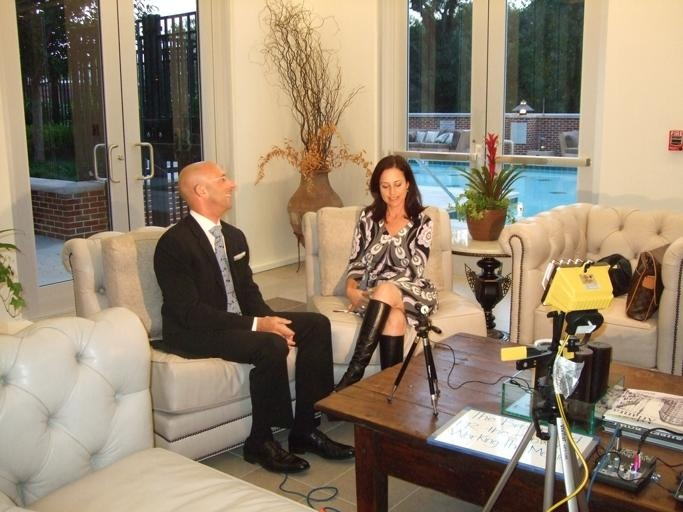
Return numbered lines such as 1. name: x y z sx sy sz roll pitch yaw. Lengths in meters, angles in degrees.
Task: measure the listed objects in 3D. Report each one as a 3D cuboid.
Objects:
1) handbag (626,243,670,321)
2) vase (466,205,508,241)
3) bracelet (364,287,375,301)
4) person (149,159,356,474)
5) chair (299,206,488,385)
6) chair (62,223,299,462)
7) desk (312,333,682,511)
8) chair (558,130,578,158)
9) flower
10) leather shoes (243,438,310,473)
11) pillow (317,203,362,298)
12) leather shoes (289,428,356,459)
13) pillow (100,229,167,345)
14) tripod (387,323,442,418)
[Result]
1. handbag: 1.731 0.168 2.999 0.126 0.298 0.363 7 17 29
2. vase: 1.045 -0.220 3.916 0.237 0.216 0.241 7 6 41
3. bracelet: 0.165 0.225 3.114 0.053 0.065 0.050 2 6 -14
4. person: -0.304 0.353 3.746 1.502 2.496 0.961 -1 1 21
5. chair: 0.267 0.125 3.473 1.030 1.059 1.062 -3 10 -13
6. chair: -0.917 0.435 2.906 1.003 1.052 0.829 9 13 26
7. desk: 0.499 0.253 1.996 0.966 0.541 0.786 11 23 36
8. chair: 2.151 -1.063 5.047 0.205 0.202 0.111 -24 26 -35
9. flower: 1.135 -0.553 3.930 0.359 0.682 0.475 -11 10 -30
10. leather shoes: -0.320 0.966 2.589 0.352 0.153 0.135 6 -5 17
11. pillow: -0.027 -0.041 3.444 0.445 0.475 0.195 5 -1 -23
12. leather shoes: -0.114 0.955 2.735 0.362 0.164 0.127 0 4 17
13. pillow: -1.070 0.144 2.754 0.154 0.470 0.473 -3 7 42
14. tripod: 0.298 0.412 2.089 0.230 0.350 0.185 1 7 29
